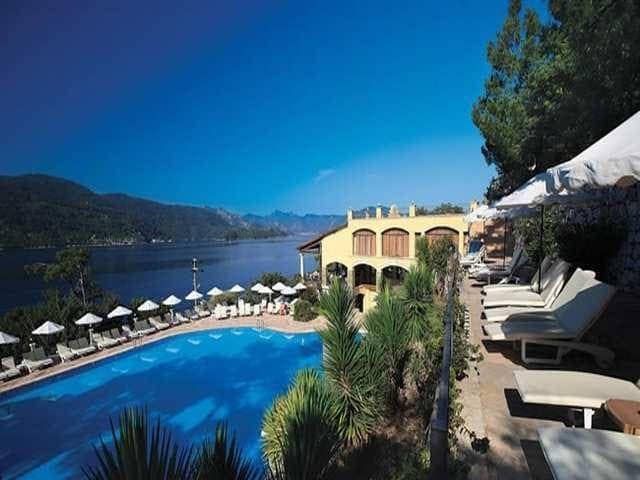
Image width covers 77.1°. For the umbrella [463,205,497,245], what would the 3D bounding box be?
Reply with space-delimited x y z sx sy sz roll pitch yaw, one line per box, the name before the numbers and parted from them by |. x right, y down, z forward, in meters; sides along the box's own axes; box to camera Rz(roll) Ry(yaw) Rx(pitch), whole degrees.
umbrella | 9.919 -0.871 25.036 2.446 2.884 2.727 -1 3 22
